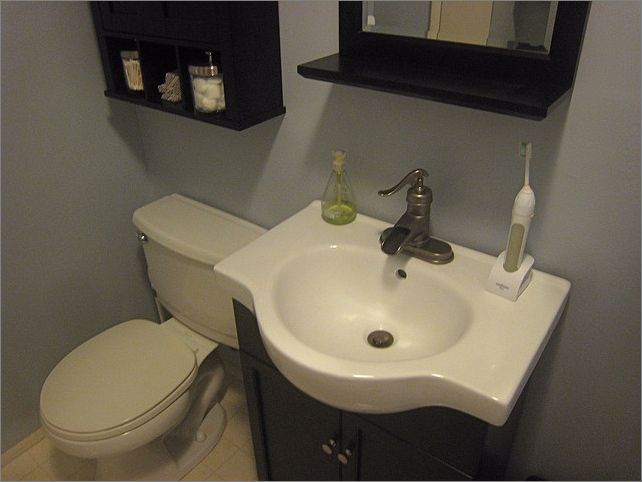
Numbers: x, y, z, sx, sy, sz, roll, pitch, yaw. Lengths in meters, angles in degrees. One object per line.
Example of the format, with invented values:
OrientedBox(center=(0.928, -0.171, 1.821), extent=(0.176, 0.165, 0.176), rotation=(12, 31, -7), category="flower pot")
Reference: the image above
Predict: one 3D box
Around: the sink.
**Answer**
OrientedBox(center=(0.146, 0.225, 1.424), extent=(0.827, 0.276, 0.577), rotation=(24, 46, 35), category="sink")

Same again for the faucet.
OrientedBox(center=(0.267, -0.068, 1.450), extent=(0.189, 0.180, 0.163), rotation=(18, 40, 32), category="faucet")

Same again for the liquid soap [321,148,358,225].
OrientedBox(center=(0.053, -0.164, 1.582), extent=(0.111, 0.219, 0.107), rotation=(2, 23, 7), category="liquid soap")
